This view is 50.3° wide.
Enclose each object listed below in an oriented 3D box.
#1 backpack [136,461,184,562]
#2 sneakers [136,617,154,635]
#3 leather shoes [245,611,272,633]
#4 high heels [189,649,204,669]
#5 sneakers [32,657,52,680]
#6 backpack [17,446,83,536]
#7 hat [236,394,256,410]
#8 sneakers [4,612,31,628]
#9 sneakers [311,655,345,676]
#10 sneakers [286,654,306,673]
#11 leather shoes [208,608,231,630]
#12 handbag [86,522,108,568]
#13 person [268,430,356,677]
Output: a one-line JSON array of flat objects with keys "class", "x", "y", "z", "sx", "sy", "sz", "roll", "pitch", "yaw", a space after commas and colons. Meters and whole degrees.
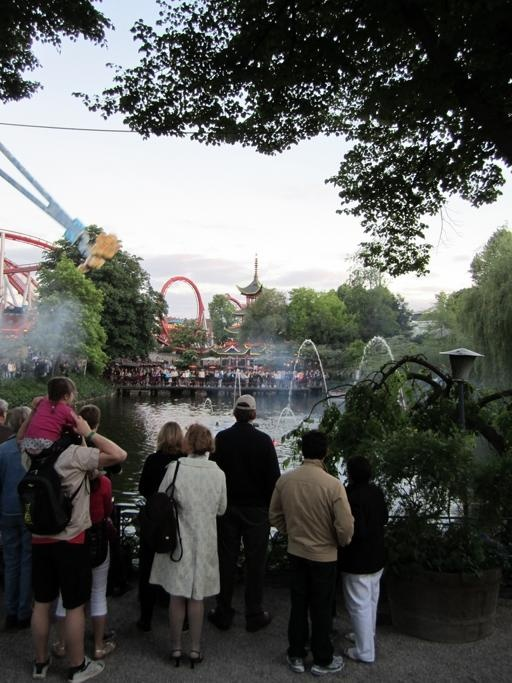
[{"class": "backpack", "x": -0.568, "y": 1.098, "z": 3.325, "sx": 0.282, "sy": 0.411, "sz": 0.437, "roll": 1, "pitch": 1, "yaw": 10}, {"class": "sneakers", "x": -0.782, "y": 1.983, "z": 3.834, "sx": 0.058, "sy": 0.112, "sz": 0.110, "roll": 13, "pitch": -51, "yaw": -33}, {"class": "leather shoes", "x": 0.026, "y": 1.991, "z": 3.929, "sx": 0.079, "sy": 0.137, "sz": 0.197, "roll": 4, "pitch": 16, "yaw": 25}, {"class": "high heels", "x": -0.371, "y": 1.940, "z": 3.344, "sx": 0.042, "sy": 0.055, "sz": 0.123, "roll": 3, "pitch": 7, "yaw": 1}, {"class": "sneakers", "x": -1.238, "y": 1.899, "z": 3.172, "sx": 0.052, "sy": 0.064, "sz": 0.153, "roll": 1, "pitch": -6, "yaw": -5}, {"class": "backpack", "x": -1.126, "y": 0.829, "z": 3.013, "sx": 0.329, "sy": 0.532, "sz": 0.185, "roll": -1, "pitch": 1, "yaw": -17}, {"class": "hat", "x": -0.077, "y": 0.437, "z": 4.108, "sx": 0.108, "sy": 0.084, "sz": 0.155, "roll": 4, "pitch": 10, "yaw": 1}, {"class": "sneakers", "x": -1.666, "y": 1.963, "z": 3.844, "sx": 0.072, "sy": 0.085, "sz": 0.189, "roll": 2, "pitch": -1, "yaw": -1}, {"class": "sneakers", "x": 0.442, "y": 1.967, "z": 3.341, "sx": 0.203, "sy": 0.090, "sz": 0.080, "roll": -7, "pitch": 7, "yaw": -18}, {"class": "sneakers", "x": 0.245, "y": 1.953, "z": 3.309, "sx": 0.047, "sy": 0.049, "sz": 0.117, "roll": 5, "pitch": -2, "yaw": -7}, {"class": "leather shoes", "x": -0.254, "y": 1.981, "z": 3.964, "sx": 0.080, "sy": 0.136, "sz": 0.201, "roll": -1, "pitch": 12, "yaw": -21}, {"class": "handbag", "x": -0.961, "y": 1.250, "z": 3.369, "sx": 0.083, "sy": 0.210, "sz": 0.151, "roll": 1, "pitch": 2, "yaw": -5}, {"class": "person", "x": 0.352, "y": 1.311, "z": 3.452, "sx": 0.520, "sy": 1.471, "sz": 0.439, "roll": 0, "pitch": 1, "yaw": 0}]
